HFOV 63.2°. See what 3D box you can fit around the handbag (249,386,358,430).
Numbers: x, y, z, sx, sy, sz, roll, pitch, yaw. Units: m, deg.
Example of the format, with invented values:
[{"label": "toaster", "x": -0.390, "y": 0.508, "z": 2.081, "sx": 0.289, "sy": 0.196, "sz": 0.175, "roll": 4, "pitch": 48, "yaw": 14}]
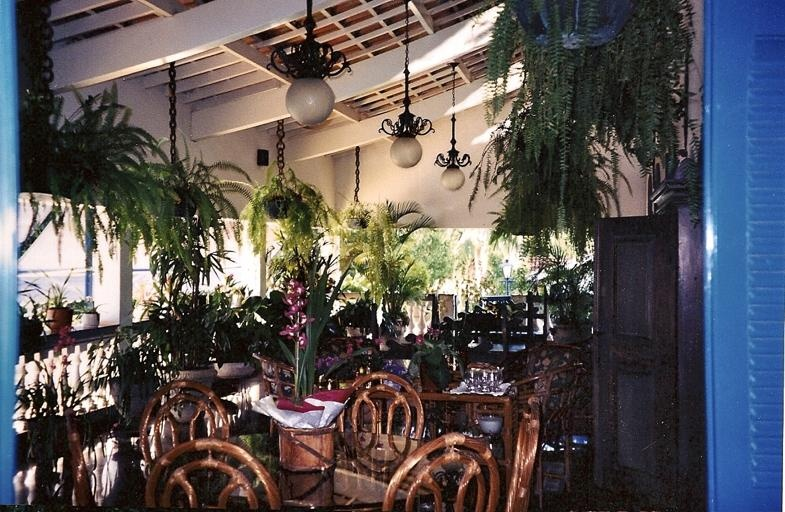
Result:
[{"label": "handbag", "x": -0.384, "y": 0.653, "z": 2.753, "sx": 0.412, "sy": 0.162, "sz": 0.185, "roll": 0, "pitch": -7, "yaw": -11}]
